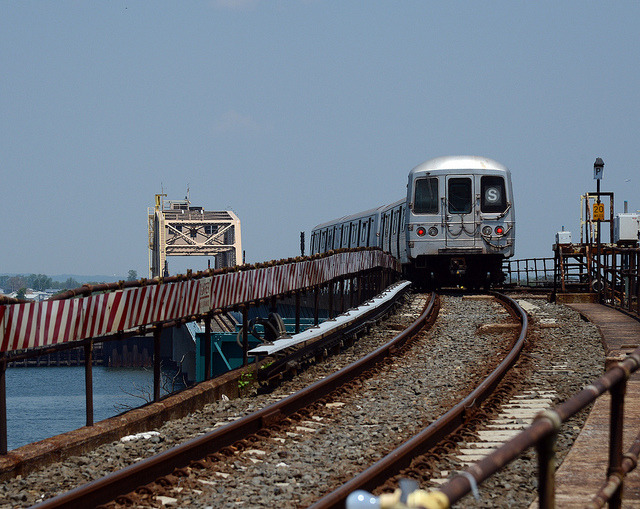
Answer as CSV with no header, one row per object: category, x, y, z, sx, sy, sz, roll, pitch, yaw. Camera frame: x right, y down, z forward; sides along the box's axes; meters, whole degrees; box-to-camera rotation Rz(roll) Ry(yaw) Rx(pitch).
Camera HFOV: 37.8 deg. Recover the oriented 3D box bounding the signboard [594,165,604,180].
signboard,7.179,-2.141,24.071,0.198,0.293,0.161,-1,1,26
